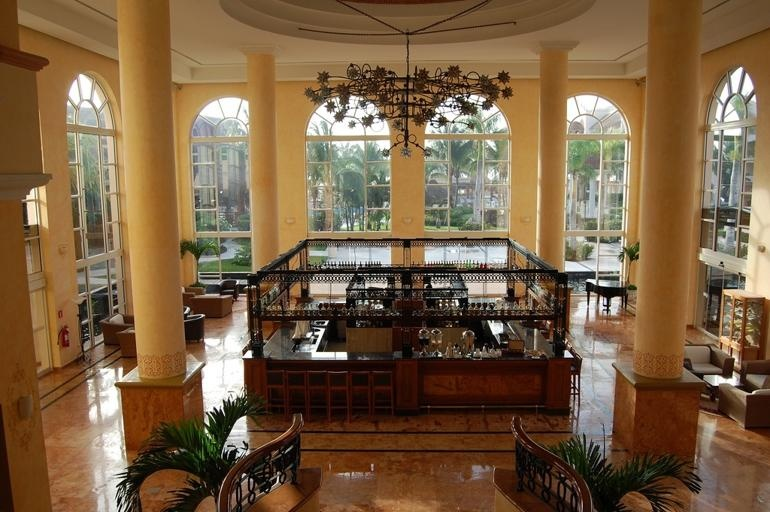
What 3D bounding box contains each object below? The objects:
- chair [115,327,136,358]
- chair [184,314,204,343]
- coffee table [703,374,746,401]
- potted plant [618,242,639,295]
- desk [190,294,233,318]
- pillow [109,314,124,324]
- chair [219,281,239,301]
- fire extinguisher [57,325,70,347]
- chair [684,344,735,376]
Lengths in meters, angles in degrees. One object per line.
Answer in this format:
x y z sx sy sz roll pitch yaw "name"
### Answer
-7.231 2.430 14.880 0.407 0.880 1.009 -9 16 -29 "chair"
-5.678 2.186 15.815 0.567 0.758 0.340 -7 16 -24 "chair"
7.735 3.036 12.126 0.594 0.230 0.953 0 4 5 "coffee table"
9.050 0.362 19.785 0.645 1.697 1.691 6 16 24 "potted plant"
-5.946 1.629 18.530 0.867 0.555 0.891 2 5 4 "desk"
-8.025 1.921 15.846 0.108 0.282 0.284 -15 13 2 "pillow"
-5.990 1.346 20.413 0.719 0.796 0.717 1 2 -7 "chair"
-8.583 2.174 14.219 0.105 0.649 0.404 3 15 13 "fire extinguisher"
8.100 2.640 13.397 1.068 0.548 0.910 -4 15 -12 "chair"
